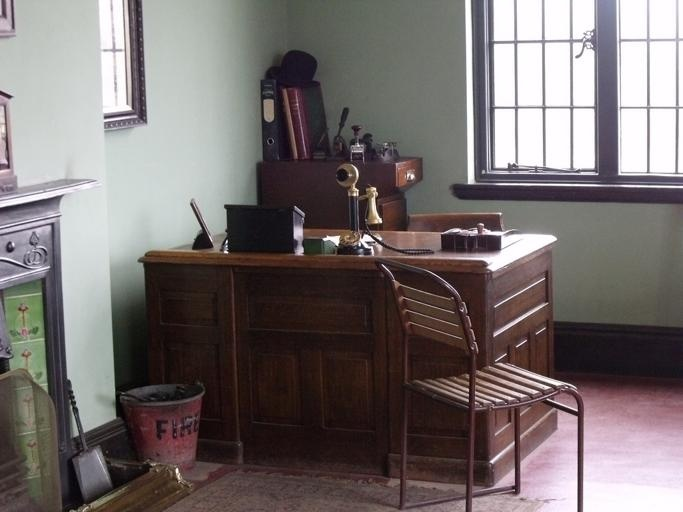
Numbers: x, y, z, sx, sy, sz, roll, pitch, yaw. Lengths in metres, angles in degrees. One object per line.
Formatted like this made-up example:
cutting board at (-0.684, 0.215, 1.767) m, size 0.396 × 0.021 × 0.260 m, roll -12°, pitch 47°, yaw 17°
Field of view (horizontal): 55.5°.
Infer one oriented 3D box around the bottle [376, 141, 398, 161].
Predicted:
bottle at (0.321, -0.760, 4.683) m, size 0.173 × 0.119 × 0.176 m, roll -4°, pitch 11°, yaw 1°

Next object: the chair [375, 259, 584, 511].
chair at (0.567, 0.539, 2.793) m, size 0.779 × 1.145 × 0.709 m, roll -3°, pitch 8°, yaw 4°

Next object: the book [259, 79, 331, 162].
book at (-0.352, -1.017, 4.822) m, size 0.498 × 0.590 × 0.190 m, roll -5°, pitch 9°, yaw -9°

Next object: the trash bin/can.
trash bin/can at (-0.867, 0.818, 3.376) m, size 0.418 × 0.396 × 0.443 m, roll -2°, pitch 0°, yaw 4°

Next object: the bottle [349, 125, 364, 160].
bottle at (0.115, -0.815, 4.638) m, size 0.110 × 0.256 × 0.188 m, roll -3°, pitch 8°, yaw 2°

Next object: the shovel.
shovel at (-1.176, 0.823, 3.024) m, size 0.165 × 0.548 × 0.299 m, roll -7°, pitch 9°, yaw -21°

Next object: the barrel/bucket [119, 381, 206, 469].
barrel/bucket at (-0.868, 0.806, 3.366) m, size 0.418 × 0.397 × 0.444 m, roll -2°, pitch 0°, yaw 0°
